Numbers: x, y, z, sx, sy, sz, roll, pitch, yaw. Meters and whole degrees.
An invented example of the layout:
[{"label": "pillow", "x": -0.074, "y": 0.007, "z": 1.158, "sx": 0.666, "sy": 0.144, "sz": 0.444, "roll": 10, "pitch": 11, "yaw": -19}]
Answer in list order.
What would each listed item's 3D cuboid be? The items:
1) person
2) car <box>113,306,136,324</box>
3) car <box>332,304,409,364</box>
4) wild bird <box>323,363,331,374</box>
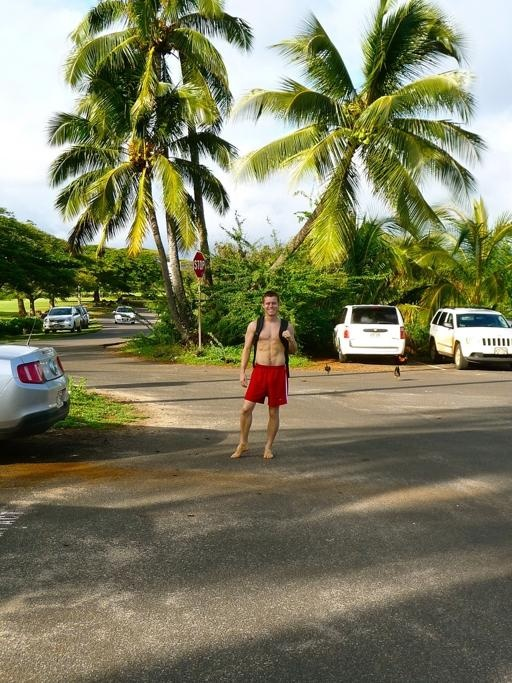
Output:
[{"label": "person", "x": 0.120, "y": 0.387, "z": 6.875, "sx": 0.772, "sy": 2.070, "sz": 1.547, "roll": 0, "pitch": -2, "yaw": 2}, {"label": "car", "x": -15.587, "y": -3.167, "z": 61.420, "sx": 1.993, "sy": 1.821, "sz": 3.179, "roll": 1, "pitch": -2, "yaw": -24}, {"label": "car", "x": 4.038, "y": -0.368, "z": 18.156, "sx": 1.533, "sy": 1.344, "sz": 2.698, "roll": 0, "pitch": 8, "yaw": 3}, {"label": "wild bird", "x": 2.311, "y": 0.869, "z": 16.983, "sx": 0.213, "sy": 0.337, "sz": 0.099, "roll": 9, "pitch": 25, "yaw": 25}]
